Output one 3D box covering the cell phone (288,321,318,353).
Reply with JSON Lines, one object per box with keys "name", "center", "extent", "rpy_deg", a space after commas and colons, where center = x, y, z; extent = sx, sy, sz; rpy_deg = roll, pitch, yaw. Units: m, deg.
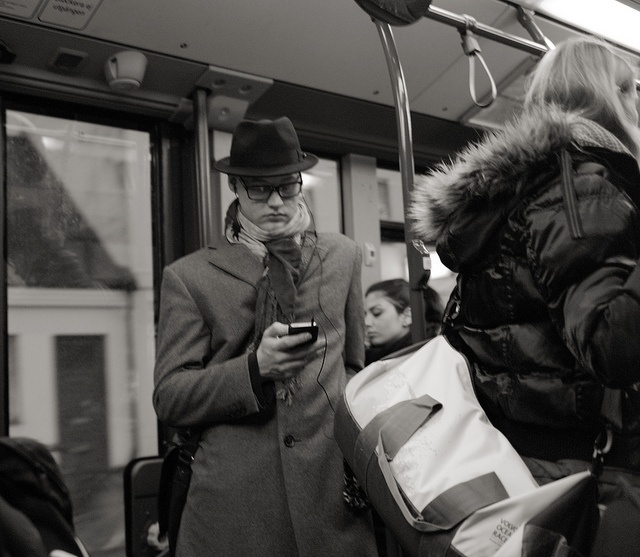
{"name": "cell phone", "center": [-0.048, 0.162, 1.930], "extent": [0.077, 0.088, 0.022], "rpy_deg": [-1, 34, 2]}
